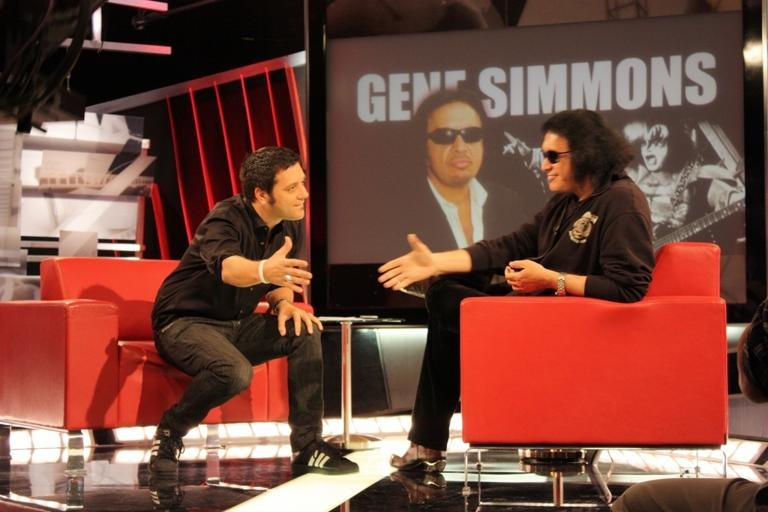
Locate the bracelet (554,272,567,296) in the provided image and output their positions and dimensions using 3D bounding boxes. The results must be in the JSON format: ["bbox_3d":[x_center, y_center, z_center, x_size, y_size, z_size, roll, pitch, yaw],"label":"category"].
[{"bbox_3d":[0.779,0.127,3.529,0.080,0.087,0.085,3,-1,9],"label":"bracelet"}]

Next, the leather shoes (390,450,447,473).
[{"bbox_3d":[0.168,1.003,3.924,0.277,0.135,0.101,4,1,24],"label":"leather shoes"}]

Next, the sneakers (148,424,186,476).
[{"bbox_3d":[-1.027,0.908,3.745,0.150,0.224,0.091,0,-5,-18],"label":"sneakers"}]

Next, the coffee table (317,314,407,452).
[{"bbox_3d":[-0.212,0.725,4.780,0.606,0.677,0.612,2,-9,-27],"label":"coffee table"}]

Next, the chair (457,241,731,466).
[{"bbox_3d":[1.030,0.390,3.826,1.337,0.863,1.346,-3,-4,38],"label":"chair"}]

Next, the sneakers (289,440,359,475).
[{"bbox_3d":[-0.285,0.997,3.910,0.368,0.150,0.140,-9,-22,32],"label":"sneakers"}]

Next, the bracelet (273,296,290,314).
[{"bbox_3d":[-0.527,0.251,4.072,0.072,0.030,0.077,-10,-9,-24],"label":"bracelet"}]

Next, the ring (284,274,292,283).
[{"bbox_3d":[-0.436,0.109,3.605,0.026,0.029,0.032,-3,0,-28],"label":"ring"}]
